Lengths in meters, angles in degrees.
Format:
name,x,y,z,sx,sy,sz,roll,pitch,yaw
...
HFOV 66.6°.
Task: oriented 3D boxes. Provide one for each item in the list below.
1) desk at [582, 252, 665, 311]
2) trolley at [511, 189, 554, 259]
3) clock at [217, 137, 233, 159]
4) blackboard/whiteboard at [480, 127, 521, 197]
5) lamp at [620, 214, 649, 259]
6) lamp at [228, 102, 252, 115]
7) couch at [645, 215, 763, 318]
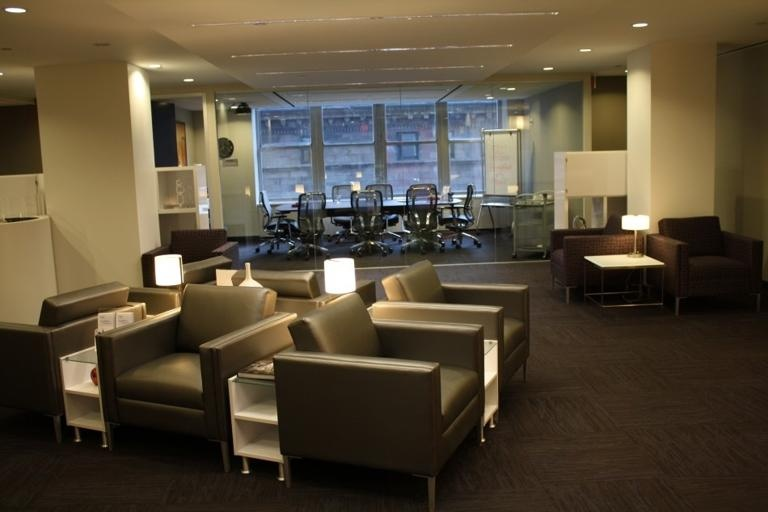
name,x,y,z,sx,sy,sz,roll,pitch,yaw
desk,3.170,0.308,7.759,0.987,0.465,0.991,-2,6,24
trolley,2.659,-0.530,10.411,0.778,1.017,0.789,-1,2,-1
clock,-2.773,-1.879,10.215,0.309,0.374,0.028,-1,9,19
blackboard/whiteboard,2.005,-1.579,9.956,0.707,1.095,0.165,-6,9,-18
lamp,3.378,-0.265,7.843,0.433,0.590,0.428,-11,14,-39
lamp,-2.479,-2.480,10.081,0.257,0.137,0.254,-3,4,-43
couch,4.216,0.097,7.888,1.278,1.360,1.308,0,3,8
